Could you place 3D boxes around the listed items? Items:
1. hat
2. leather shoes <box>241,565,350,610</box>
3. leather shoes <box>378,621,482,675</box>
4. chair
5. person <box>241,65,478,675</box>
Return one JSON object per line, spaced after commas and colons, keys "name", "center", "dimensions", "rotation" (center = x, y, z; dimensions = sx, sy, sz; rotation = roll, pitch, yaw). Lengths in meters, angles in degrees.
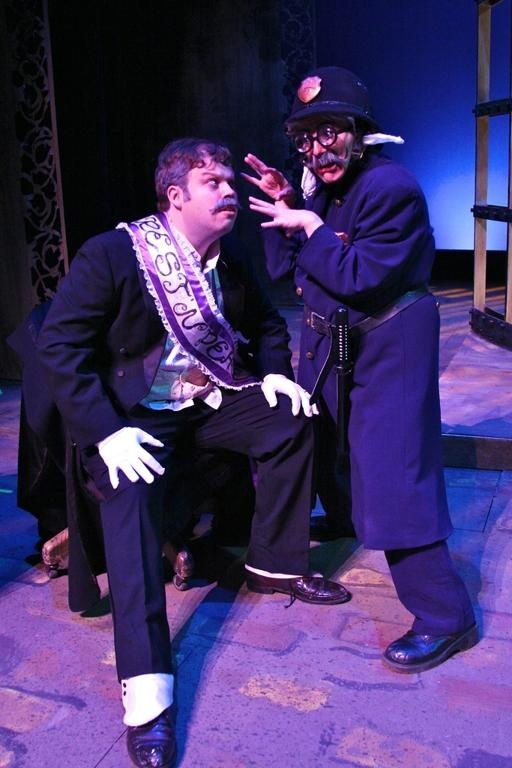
{"name": "hat", "center": [0.166, -0.584, 1.429], "dimensions": [0.179, 0.091, 0.143], "rotation": [-5, 6, -40]}
{"name": "leather shoes", "center": [0.121, 0.548, 1.852], "dimensions": [0.319, 0.120, 0.103], "rotation": [1, 7, 6]}
{"name": "leather shoes", "center": [0.404, 0.592, 1.548], "dimensions": [0.227, 0.087, 0.080], "rotation": [-4, 2, -26]}
{"name": "chair", "center": [-0.176, 0.157, 2.153], "dimensions": [0.840, 1.071, 0.694], "rotation": [3, 10, 25]}
{"name": "person", "center": [0.231, -0.043, 1.559], "dimensions": [0.369, 1.322, 0.506], "rotation": [-11, 14, -38]}
